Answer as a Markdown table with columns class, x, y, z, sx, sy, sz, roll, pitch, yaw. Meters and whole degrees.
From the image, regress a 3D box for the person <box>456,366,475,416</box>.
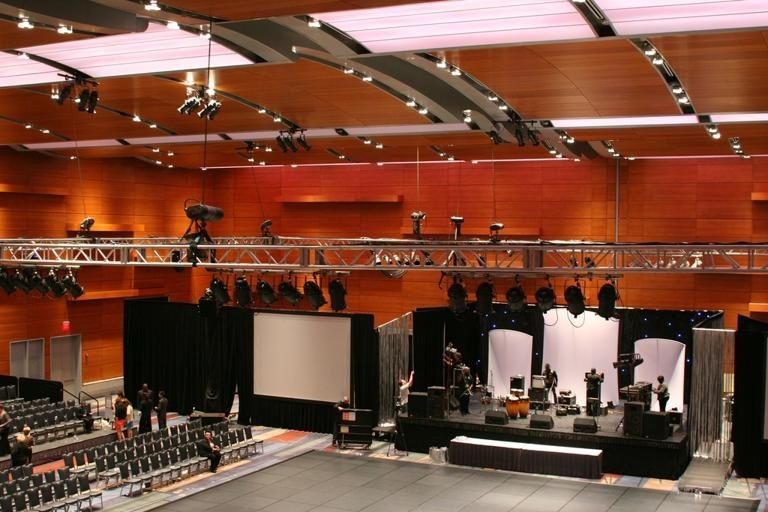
| class | x | y | z | sx | sy | sz | roll | pitch | yaw |
| --- | --- | --- | --- | --- | --- | --- | --- | --- | --- |
| person | 2.583 | 4.326 | 20.046 | 0.679 | 1.755 | 1.380 | 1 | -9 | 13 |

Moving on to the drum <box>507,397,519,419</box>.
| class | x | y | z | sx | sy | sz | roll | pitch | yaw |
| --- | --- | --- | --- | --- | --- | --- | --- | --- | --- |
| drum | 3.995 | 4.679 | 19.437 | 0.387 | 0.634 | 0.227 | -2 | -6 | -6 |

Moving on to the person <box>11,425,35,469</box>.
| class | x | y | z | sx | sy | sz | roll | pitch | yaw |
| --- | --- | --- | --- | --- | --- | --- | --- | --- | --- |
| person | -9.043 | 4.822 | 15.932 | 0.500 | 1.016 | 0.867 | 1 | -6 | -28 |

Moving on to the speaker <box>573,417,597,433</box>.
| class | x | y | z | sx | sy | sz | roll | pitch | yaw |
| --- | --- | --- | --- | --- | --- | --- | --- | --- | --- |
| speaker | 5.698 | 4.767 | 17.818 | 0.618 | 0.322 | 0.401 | -1 | -2 | 23 |

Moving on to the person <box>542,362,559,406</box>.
| class | x | y | z | sx | sy | sz | roll | pitch | yaw |
| --- | --- | --- | --- | --- | --- | --- | --- | --- | --- |
| person | 5.603 | 4.315 | 21.247 | 0.415 | 1.331 | 2.209 | -4 | -5 | 14 |

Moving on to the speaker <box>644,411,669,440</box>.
| class | x | y | z | sx | sy | sz | roll | pitch | yaw |
| --- | --- | --- | --- | --- | --- | --- | --- | --- | --- |
| speaker | 7.264 | 4.576 | 17.118 | 0.817 | 0.627 | 0.766 | 0 | -2 | 23 |

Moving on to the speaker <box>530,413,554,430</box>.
| class | x | y | z | sx | sy | sz | roll | pitch | yaw |
| --- | --- | --- | --- | --- | --- | --- | --- | --- | --- |
| speaker | 4.558 | 4.810 | 18.276 | 0.651 | 0.325 | 0.501 | -4 | -5 | 22 |

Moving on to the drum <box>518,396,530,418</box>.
| class | x | y | z | sx | sy | sz | roll | pitch | yaw |
| --- | --- | --- | --- | --- | --- | --- | --- | --- | --- |
| drum | 4.347 | 4.694 | 19.615 | 0.333 | 0.629 | 0.249 | -3 | -6 | 4 |

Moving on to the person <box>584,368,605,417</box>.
| class | x | y | z | sx | sy | sz | roll | pitch | yaw |
| --- | --- | --- | --- | --- | --- | --- | --- | --- | --- |
| person | 6.744 | 4.321 | 20.232 | 0.536 | 1.379 | 1.906 | -4 | -5 | 18 |

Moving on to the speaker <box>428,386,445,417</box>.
| class | x | y | z | sx | sy | sz | roll | pitch | yaw |
| --- | --- | --- | --- | --- | --- | --- | --- | --- | --- |
| speaker | 1.582 | 4.400 | 18.925 | 0.502 | 0.921 | 0.353 | -3 | -6 | 9 |

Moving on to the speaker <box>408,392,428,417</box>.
| class | x | y | z | sx | sy | sz | roll | pitch | yaw |
| --- | --- | --- | --- | --- | --- | --- | --- | --- | --- |
| speaker | 1.134 | 4.537 | 19.387 | 0.796 | 0.606 | 0.686 | -1 | 4 | -12 |

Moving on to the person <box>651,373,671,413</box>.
| class | x | y | z | sx | sy | sz | roll | pitch | yaw |
| --- | --- | --- | --- | --- | --- | --- | --- | --- | --- |
| person | 8.671 | 4.329 | 19.769 | 0.424 | 1.141 | 2.392 | -5 | -6 | 23 |

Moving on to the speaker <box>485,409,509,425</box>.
| class | x | y | z | sx | sy | sz | roll | pitch | yaw |
| --- | --- | --- | --- | --- | --- | --- | --- | --- | --- |
| speaker | 3.322 | 4.780 | 18.617 | 0.640 | 0.315 | 0.420 | 0 | 1 | 24 |
